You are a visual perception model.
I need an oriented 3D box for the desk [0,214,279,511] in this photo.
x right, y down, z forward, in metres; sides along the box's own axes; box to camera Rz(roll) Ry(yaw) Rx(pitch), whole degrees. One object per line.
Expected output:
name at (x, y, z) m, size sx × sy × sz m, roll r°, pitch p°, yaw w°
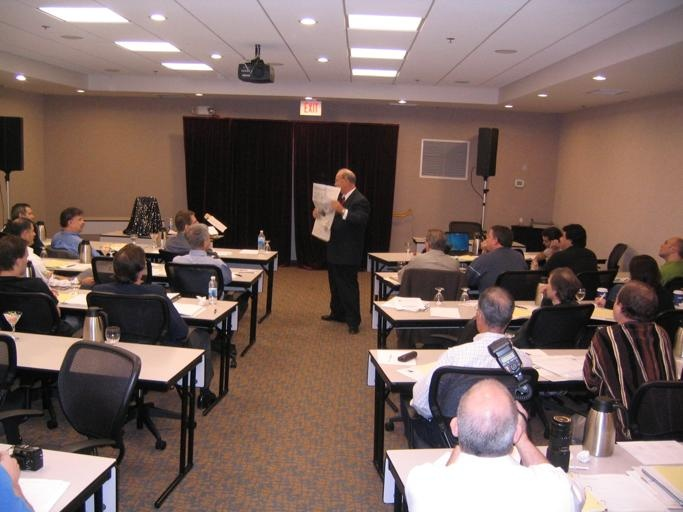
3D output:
desk at (-1.347, 0.600, 4.073) m, size 1.633 × 0.795 × 1.710 m, roll 3°, pitch 13°, yaw 0°

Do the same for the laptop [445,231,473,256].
laptop at (1.580, -0.157, 7.467) m, size 0.325 × 0.253 × 0.097 m, roll 0°, pitch -5°, yaw -5°

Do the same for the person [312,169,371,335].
person at (0.062, -0.059, 6.519) m, size 0.473 × 1.876 × 0.490 m, roll 2°, pitch 9°, yaw 4°

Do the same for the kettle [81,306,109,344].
kettle at (-1.614, 0.456, 3.629) m, size 0.139 × 0.241 × 0.317 m, roll -2°, pitch 10°, yaw -23°

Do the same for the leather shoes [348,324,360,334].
leather shoes at (0.142, 0.867, 6.497) m, size 0.074 × 0.116 × 0.116 m, roll 0°, pitch 5°, yaw -2°

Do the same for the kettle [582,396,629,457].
kettle at (1.385, 0.891, 2.894) m, size 0.241 × 0.288 × 0.153 m, roll 6°, pitch 6°, yaw 9°

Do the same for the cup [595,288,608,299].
cup at (2.436, 0.342, 5.164) m, size 0.102 × 0.106 × 0.107 m, roll 0°, pitch 13°, yaw 0°

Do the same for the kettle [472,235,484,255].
kettle at (1.892, -0.140, 7.502) m, size 0.140 × 0.274 × 0.274 m, roll 1°, pitch 11°, yaw 8°

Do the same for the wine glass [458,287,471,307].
wine glass at (1.124, 0.390, 5.082) m, size 0.119 × 0.182 × 0.124 m, roll 9°, pitch 23°, yaw 29°

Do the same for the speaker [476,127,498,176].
speaker at (2.326, -1.643, 8.891) m, size 0.243 × 0.764 × 0.271 m, roll 6°, pitch 9°, yaw 37°

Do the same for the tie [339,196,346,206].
tie at (0.020, -0.628, 6.412) m, size 0.097 × 0.103 × 0.036 m, roll -4°, pitch -10°, yaw 39°

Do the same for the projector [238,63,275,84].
projector at (-1.039, -2.237, 6.713) m, size 0.393 × 0.237 × 0.248 m, roll 2°, pitch 9°, yaw 0°

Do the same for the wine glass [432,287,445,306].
wine glass at (0.873, 0.368, 4.973) m, size 0.124 × 0.203 × 0.130 m, roll 1°, pitch 10°, yaw 1°
